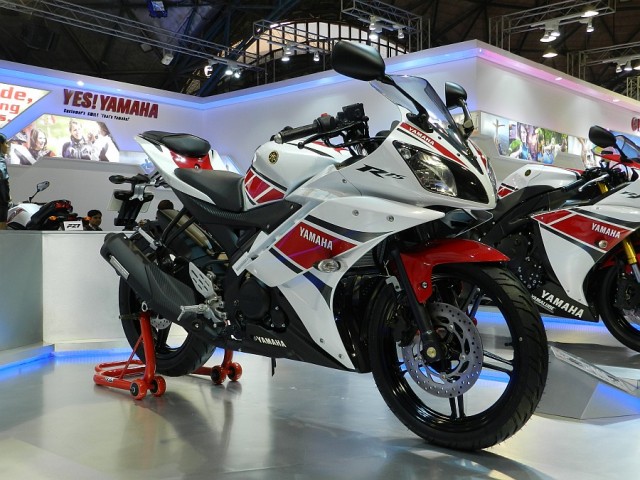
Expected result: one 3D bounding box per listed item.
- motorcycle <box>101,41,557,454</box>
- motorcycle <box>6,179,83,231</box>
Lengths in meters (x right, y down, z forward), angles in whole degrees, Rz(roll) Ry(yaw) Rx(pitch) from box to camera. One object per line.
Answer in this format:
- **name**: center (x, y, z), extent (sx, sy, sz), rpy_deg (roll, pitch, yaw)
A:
- **motorcycle**: center (-0.205, -0.022, 2.494), extent (2.866, 1.556, 1.069), rpy_deg (6, -1, 42)
- **motorcycle**: center (-5.035, -0.448, 7.727), extent (1.439, 0.537, 0.645), rpy_deg (-2, -2, 41)
